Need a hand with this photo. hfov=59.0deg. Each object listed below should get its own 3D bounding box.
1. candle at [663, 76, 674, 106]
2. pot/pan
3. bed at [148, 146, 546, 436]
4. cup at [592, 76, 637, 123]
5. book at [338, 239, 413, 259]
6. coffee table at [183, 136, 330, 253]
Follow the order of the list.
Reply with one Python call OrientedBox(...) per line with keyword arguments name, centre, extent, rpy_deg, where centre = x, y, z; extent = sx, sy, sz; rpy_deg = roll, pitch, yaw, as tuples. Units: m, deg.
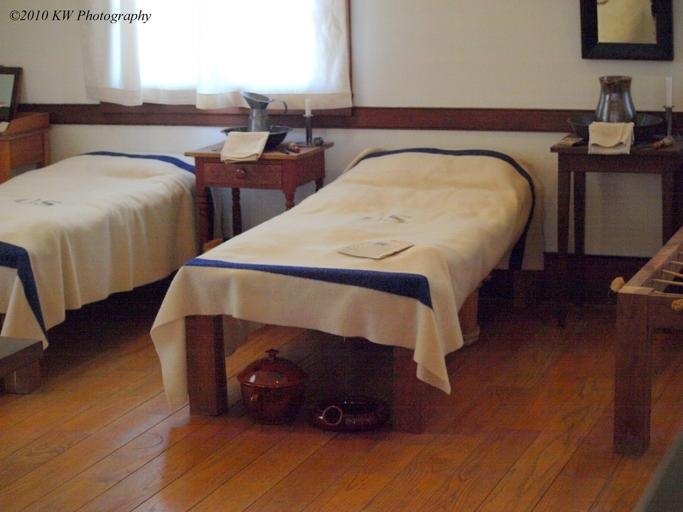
OrientedBox(name="candle", centre=(1.529, -0.766, 2.805), extent=(0.026, 0.137, 0.264), rpy_deg=(6, 19, 30))
OrientedBox(name="pot/pan", centre=(-0.207, 0.429, 2.090), extent=(0.239, 0.195, 0.268), rpy_deg=(4, 4, 33))
OrientedBox(name="bed", centre=(0.239, 0.004, 2.550), extent=(1.082, 0.568, 1.784), rpy_deg=(8, 21, 29))
OrientedBox(name="cup", centre=(1.243, -0.715, 2.739), extent=(0.245, 0.234, 0.189), rpy_deg=(-14, 18, -37))
OrientedBox(name="book", centre=(0.123, -0.026, 2.044), extent=(0.194, 0.013, 0.235), rpy_deg=(11, 21, 40))
OrientedBox(name="coffee table", centre=(-0.307, -0.329, 3.393), extent=(0.853, 0.713, 0.637), rpy_deg=(2, 11, 15))
